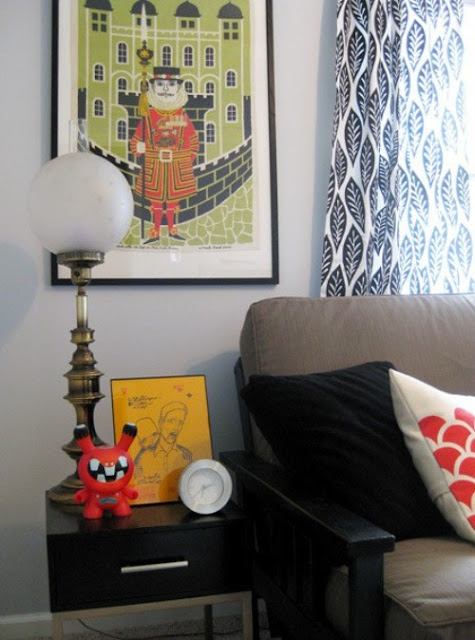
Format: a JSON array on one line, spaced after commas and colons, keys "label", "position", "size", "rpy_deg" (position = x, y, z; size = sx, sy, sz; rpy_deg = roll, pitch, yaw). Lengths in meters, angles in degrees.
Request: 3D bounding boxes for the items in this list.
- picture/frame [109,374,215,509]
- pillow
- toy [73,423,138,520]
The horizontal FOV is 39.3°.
[{"label": "picture/frame", "position": [-0.165, 0.268, 1.511], "size": [0.209, 0.306, 0.004], "rpy_deg": [-2, 20, -1]}, {"label": "pillow", "position": [0.191, 0.252, 1.275], "size": [0.309, 0.270, 0.241], "rpy_deg": [-5, 9, -14]}, {"label": "toy", "position": [-0.264, 0.308, 1.372], "size": [0.120, 0.194, 0.092], "rpy_deg": [-1, 10, -16]}]
